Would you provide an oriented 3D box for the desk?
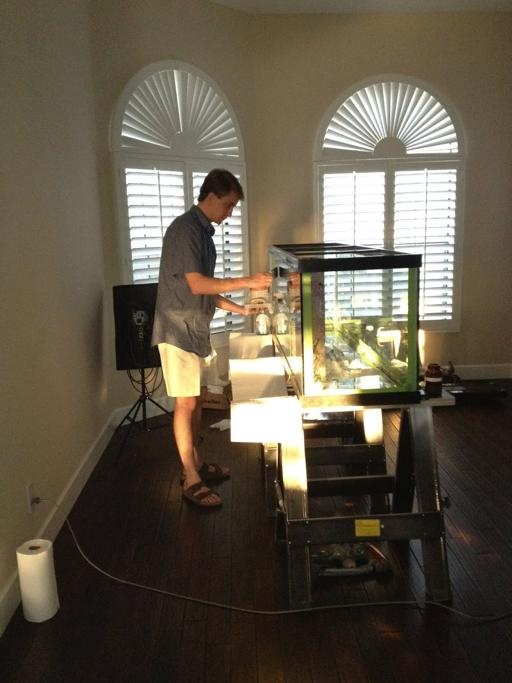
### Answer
[{"bbox_3d":[0.430,0.623,2.239,0.560,0.693,1.056,-5,-7,9],"label":"desk"}]

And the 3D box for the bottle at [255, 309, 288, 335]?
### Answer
[{"bbox_3d":[0.081,-0.086,2.326,0.107,0.077,0.114,1,3,0],"label":"bottle"}]

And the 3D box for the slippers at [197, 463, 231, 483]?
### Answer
[{"bbox_3d":[-0.242,0.734,2.879,0.164,0.075,0.084,-5,16,-12],"label":"slippers"}]

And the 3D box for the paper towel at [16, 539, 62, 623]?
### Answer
[{"bbox_3d":[-0.721,0.778,1.714,0.122,0.250,0.178,-4,6,-27],"label":"paper towel"}]

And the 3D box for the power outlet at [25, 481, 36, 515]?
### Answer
[{"bbox_3d":[-0.870,0.599,2.000,0.019,0.117,0.110,-3,6,-14],"label":"power outlet"}]
